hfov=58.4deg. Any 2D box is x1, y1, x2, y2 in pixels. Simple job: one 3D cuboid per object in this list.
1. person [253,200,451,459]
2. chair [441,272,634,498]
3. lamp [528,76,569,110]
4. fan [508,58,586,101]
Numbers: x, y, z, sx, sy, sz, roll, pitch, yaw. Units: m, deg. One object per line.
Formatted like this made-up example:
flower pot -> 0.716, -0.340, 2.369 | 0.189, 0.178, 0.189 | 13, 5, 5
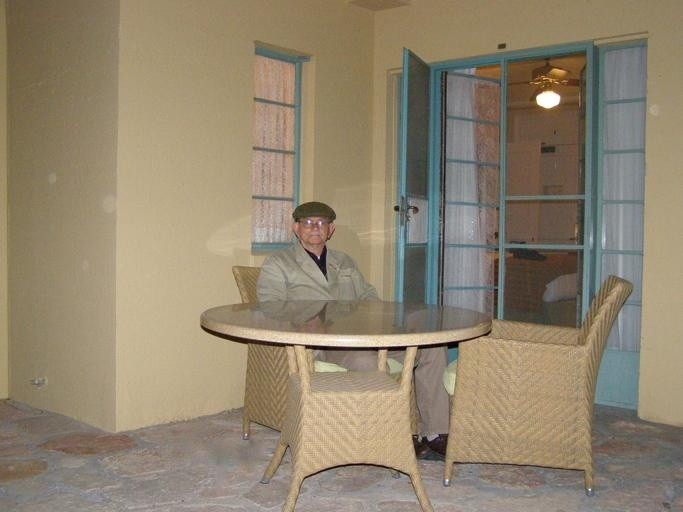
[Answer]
person -> -0.053, 0.435, 3.887 | 0.887, 1.658, 1.189 | 4, -6, -30
chair -> 1.105, 0.709, 3.593 | 1.098, 1.120, 1.071 | 0, 3, -19
lamp -> 1.740, -1.376, 5.166 | 0.311, 0.285, 0.227 | 18, 44, 37
fan -> 1.696, -1.492, 5.089 | 0.585, 0.284, 0.207 | 3, 7, 18
